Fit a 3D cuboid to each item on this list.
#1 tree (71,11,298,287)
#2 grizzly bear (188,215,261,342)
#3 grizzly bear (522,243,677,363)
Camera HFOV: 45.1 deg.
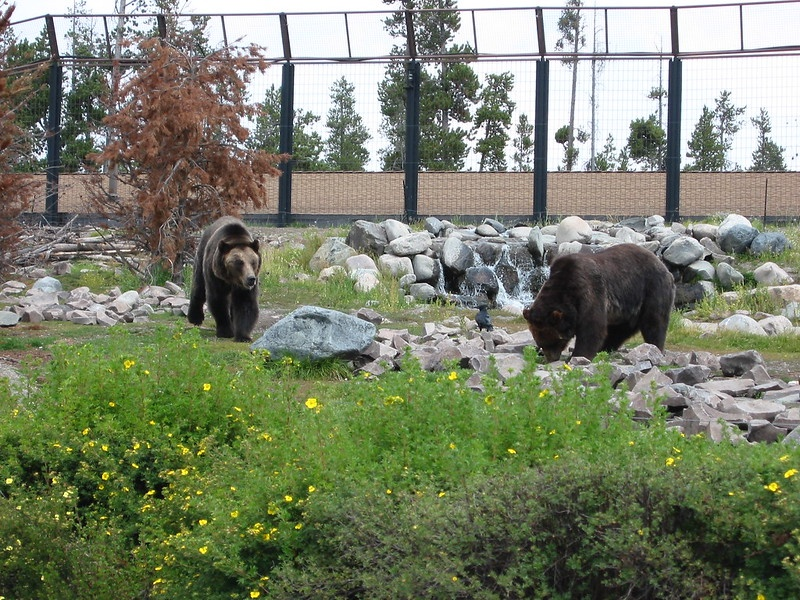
[{"bbox_3d":[-4.378,-3.049,19.212,2.810,4.689,5.519,0,9,-14],"label":"tree"},{"bbox_3d":[-2.467,-0.310,13.768,0.656,1.641,2.145,0,6,-29],"label":"grizzly bear"},{"bbox_3d":[2.554,0.151,12.108,2.172,1.544,0.814,-11,10,-33],"label":"grizzly bear"}]
